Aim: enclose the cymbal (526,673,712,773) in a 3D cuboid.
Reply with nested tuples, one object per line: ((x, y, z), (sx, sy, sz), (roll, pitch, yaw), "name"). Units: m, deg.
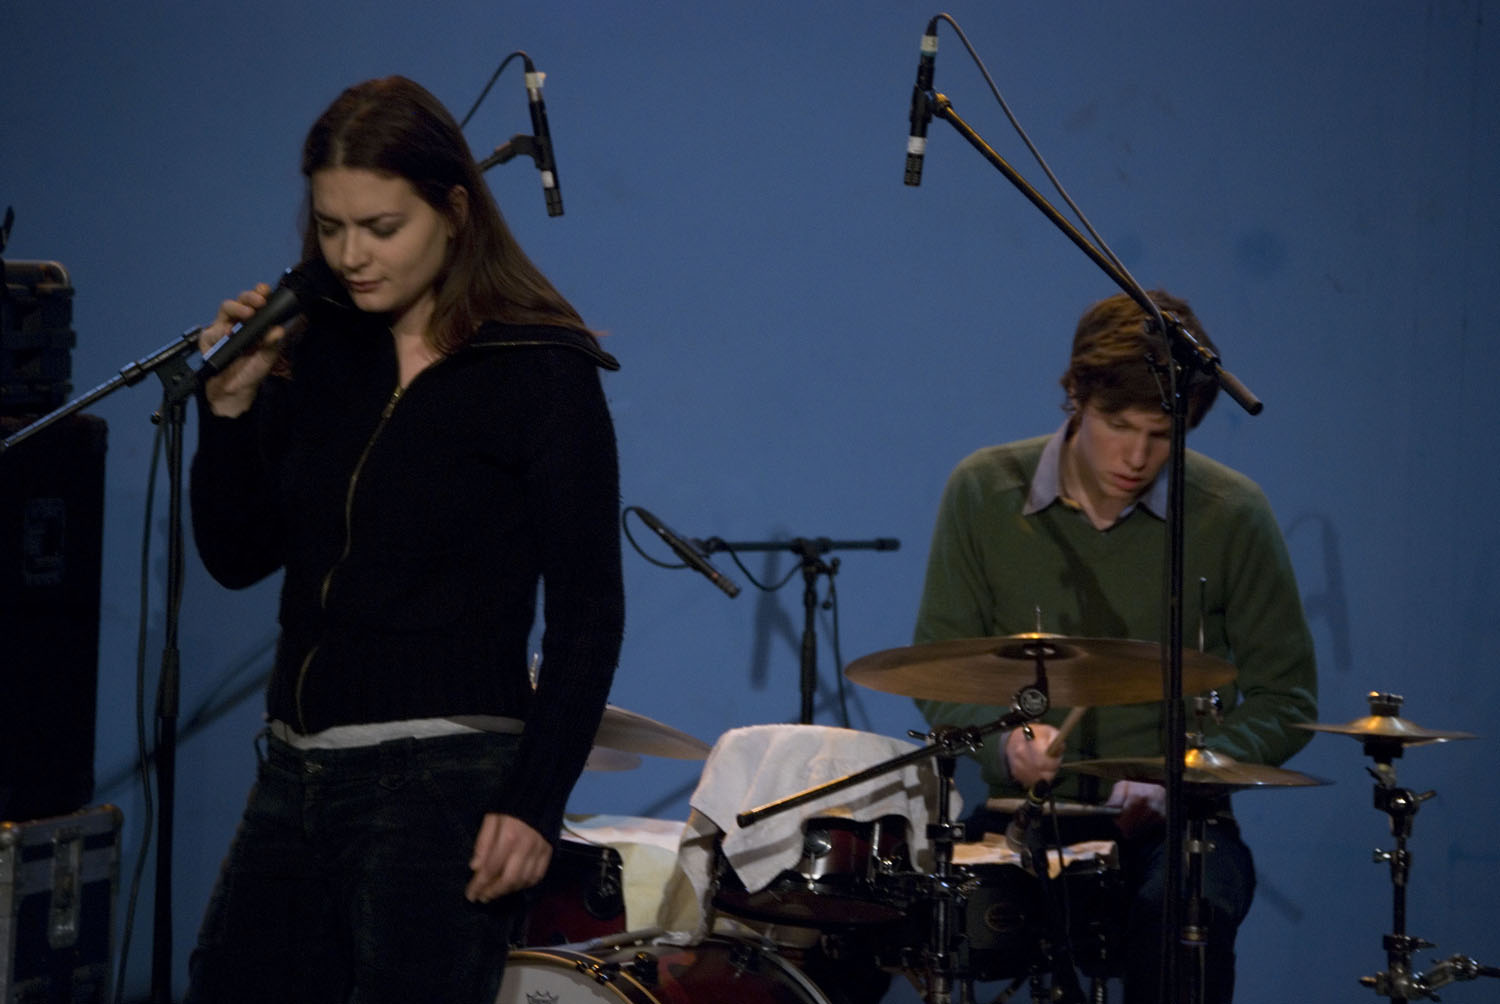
((-0.381, 0.754, 5.383), (0.433, 0.111, 0.461), (17, -16, 5), "cymbal")

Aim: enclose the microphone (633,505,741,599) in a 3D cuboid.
((-0.199, 0.174, 6.110), (0.356, 0.100, 0.086), (46, 4, 20), "microphone")

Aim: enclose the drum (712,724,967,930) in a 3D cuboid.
((0.195, 0.867, 4.875), (0.486, 0.267, 0.487), (6, -17, 2), "drum")

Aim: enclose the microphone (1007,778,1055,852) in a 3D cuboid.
((0.766, 0.864, 4.926), (0.092, 0.201, 0.097), (8, -15, -20), "microphone")

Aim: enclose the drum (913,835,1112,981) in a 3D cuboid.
((0.852, 1.185, 5.138), (0.672, 0.265, 0.507), (22, -27, -39), "drum")

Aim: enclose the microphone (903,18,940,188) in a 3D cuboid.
((0.461, -1.048, 4.700), (0.091, 0.416, 0.070), (0, 23, -12), "microphone")
